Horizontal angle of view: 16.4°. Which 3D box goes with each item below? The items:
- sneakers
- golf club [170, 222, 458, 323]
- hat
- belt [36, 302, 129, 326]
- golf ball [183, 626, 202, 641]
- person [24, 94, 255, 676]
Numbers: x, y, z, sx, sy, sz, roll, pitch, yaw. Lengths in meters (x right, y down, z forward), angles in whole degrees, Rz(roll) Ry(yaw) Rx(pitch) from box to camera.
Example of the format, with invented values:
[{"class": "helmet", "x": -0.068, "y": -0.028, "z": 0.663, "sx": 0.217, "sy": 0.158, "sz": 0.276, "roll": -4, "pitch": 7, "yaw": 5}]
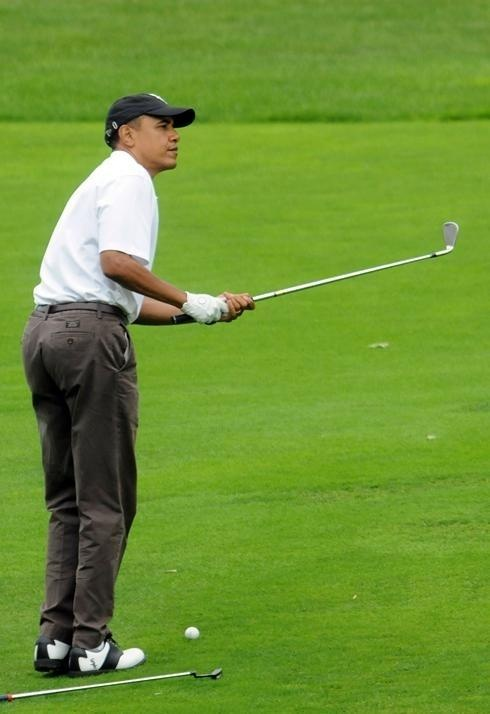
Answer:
[{"class": "sneakers", "x": -0.520, "y": 0.967, "z": 5.660, "sx": 0.380, "sy": 0.158, "sz": 0.139, "roll": -1, "pitch": 3, "yaw": -23}, {"class": "golf club", "x": 0.510, "y": -0.523, "z": 10.587, "sx": 2.172, "sy": 0.241, "sz": 0.357, "roll": -13, "pitch": -31, "yaw": -7}, {"class": "hat", "x": -0.330, "y": -0.845, "z": 5.895, "sx": 0.277, "sy": 0.128, "sz": 0.179, "roll": -14, "pitch": 3, "yaw": 0}, {"class": "belt", "x": -0.545, "y": -0.154, "z": 5.705, "sx": 0.309, "sy": 0.070, "sz": 0.160, "roll": 0, "pitch": 5, "yaw": -6}, {"class": "golf ball", "x": -0.181, "y": 0.938, "z": 5.780, "sx": 0.040, "sy": 0.032, "sz": 0.042, "roll": 3, "pitch": 2, "yaw": 0}, {"class": "person", "x": -0.465, "y": 0.064, "z": 5.790, "sx": 0.489, "sy": 1.938, "sz": 0.713, "roll": 4, "pitch": 7, "yaw": 34}]
